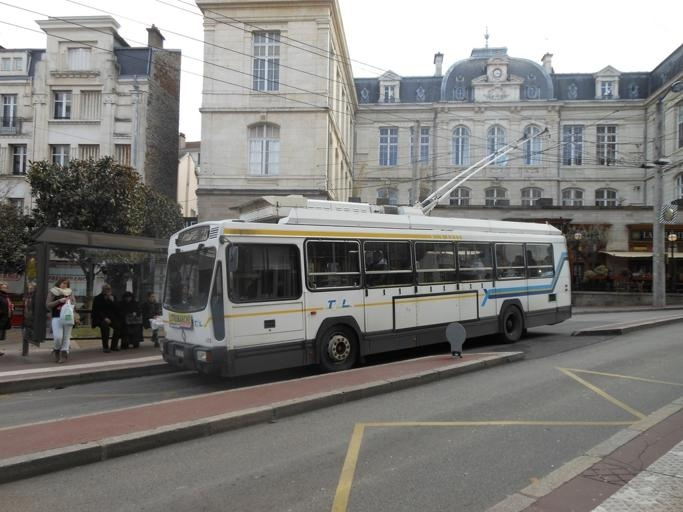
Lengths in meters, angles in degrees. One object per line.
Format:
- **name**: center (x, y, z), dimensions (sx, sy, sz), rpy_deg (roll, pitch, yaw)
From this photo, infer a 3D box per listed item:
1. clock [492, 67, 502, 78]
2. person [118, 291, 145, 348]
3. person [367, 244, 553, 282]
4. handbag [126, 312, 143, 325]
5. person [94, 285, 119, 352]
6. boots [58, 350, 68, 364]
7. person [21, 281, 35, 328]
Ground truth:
- **clock**: center (11.493, -13.500, 52.600), dimensions (0.599, 0.788, 0.213), rpy_deg (2, 11, 12)
- **person**: center (-6.363, 1.930, 21.360), dimensions (0.861, 1.709, 0.503), rpy_deg (-9, 14, -38)
- **person**: center (3.148, 0.195, 20.127), dimensions (3.612, 0.925, 0.934), rpy_deg (-3, -2, -28)
- **handbag**: center (-6.280, 1.899, 21.451), dimensions (0.364, 0.360, 0.240), rpy_deg (4, 9, -30)
- **person**: center (-6.888, 1.822, 20.863), dimensions (0.652, 1.931, 0.759), rpy_deg (7, 13, 35)
- **boots**: center (-7.510, 2.677, 19.121), dimensions (0.208, 0.374, 0.329), rpy_deg (-4, 11, -20)
- **person**: center (-8.799, 1.369, 19.969), dimensions (0.362, 1.293, 0.758), rpy_deg (-5, 12, -24)
